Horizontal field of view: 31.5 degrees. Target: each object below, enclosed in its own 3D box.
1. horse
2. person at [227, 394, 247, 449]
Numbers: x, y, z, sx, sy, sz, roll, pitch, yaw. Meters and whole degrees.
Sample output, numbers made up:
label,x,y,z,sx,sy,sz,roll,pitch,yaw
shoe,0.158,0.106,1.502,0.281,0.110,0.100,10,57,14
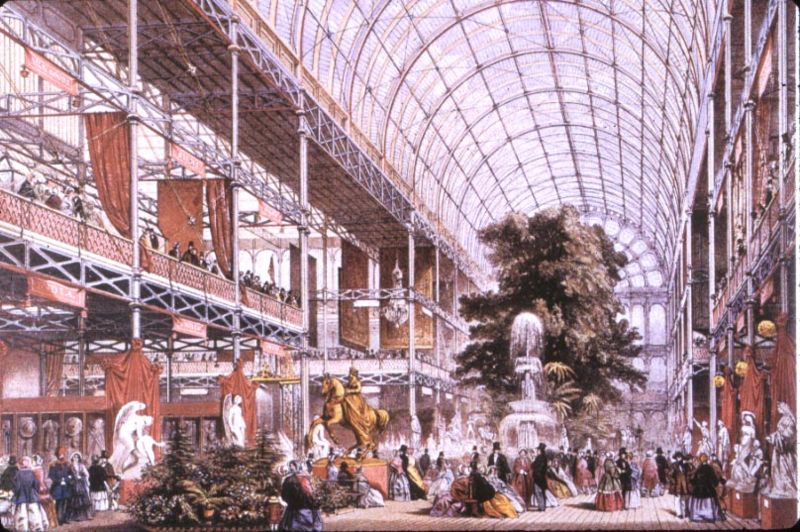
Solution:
label,x,y,z,sx,sy,sz,roll,pitch,yaw
horse,-2.209,6.534,62.541,2.979,3.908,3.259,7,-14,-36
person,-7.190,6.789,62.407,0.812,2.269,1.198,-2,-12,-7
